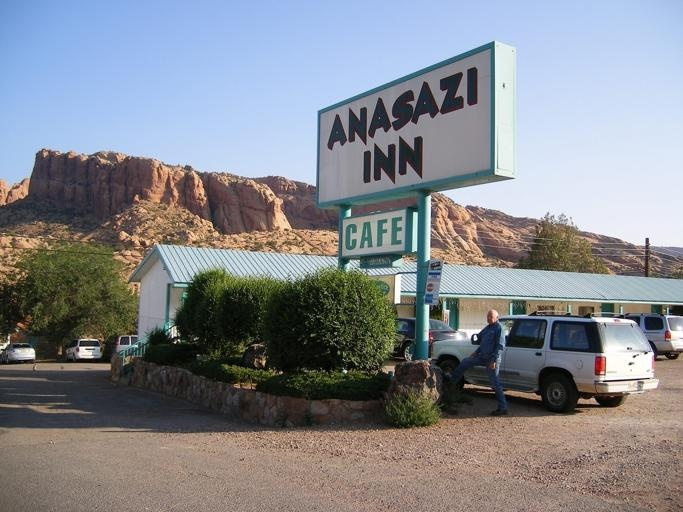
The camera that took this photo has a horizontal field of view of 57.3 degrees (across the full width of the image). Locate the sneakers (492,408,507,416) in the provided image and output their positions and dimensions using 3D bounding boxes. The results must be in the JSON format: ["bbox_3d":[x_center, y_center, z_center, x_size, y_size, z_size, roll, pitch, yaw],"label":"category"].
[{"bbox_3d":[3.279,3.233,12.938,0.359,0.167,0.124,6,-7,-31],"label":"sneakers"}]

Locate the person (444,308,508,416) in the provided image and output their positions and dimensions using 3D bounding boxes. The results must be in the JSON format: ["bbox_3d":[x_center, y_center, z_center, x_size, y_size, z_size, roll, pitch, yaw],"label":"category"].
[{"bbox_3d":[3.057,2.268,13.324,0.938,2.191,0.550,-8,-13,40],"label":"person"}]

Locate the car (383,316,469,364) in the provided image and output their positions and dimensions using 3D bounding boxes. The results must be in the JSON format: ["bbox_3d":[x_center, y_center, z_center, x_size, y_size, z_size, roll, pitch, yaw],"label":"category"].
[{"bbox_3d":[3.175,3.345,24.342,1.624,1.301,3.507,2,-1,-28],"label":"car"}]

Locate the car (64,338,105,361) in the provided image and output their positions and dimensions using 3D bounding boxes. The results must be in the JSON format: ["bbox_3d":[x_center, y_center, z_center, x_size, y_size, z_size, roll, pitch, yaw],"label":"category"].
[{"bbox_3d":[-16.640,6.106,40.500,2.279,1.524,1.359,-8,-13,37],"label":"car"}]
